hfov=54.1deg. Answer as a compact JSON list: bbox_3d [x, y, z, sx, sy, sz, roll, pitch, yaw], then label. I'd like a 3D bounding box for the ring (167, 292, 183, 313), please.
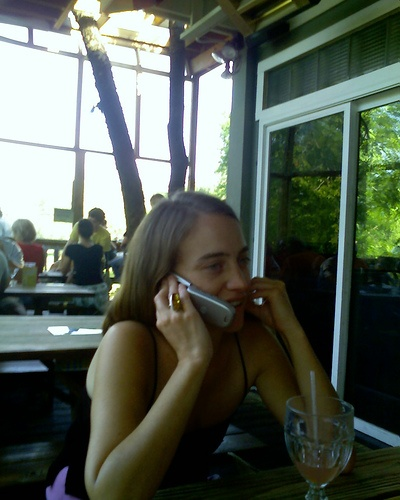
[{"bbox_3d":[-0.059,0.131,0.963,0.032,0.060,0.042,-13,-9,-3],"label":"ring"}]
